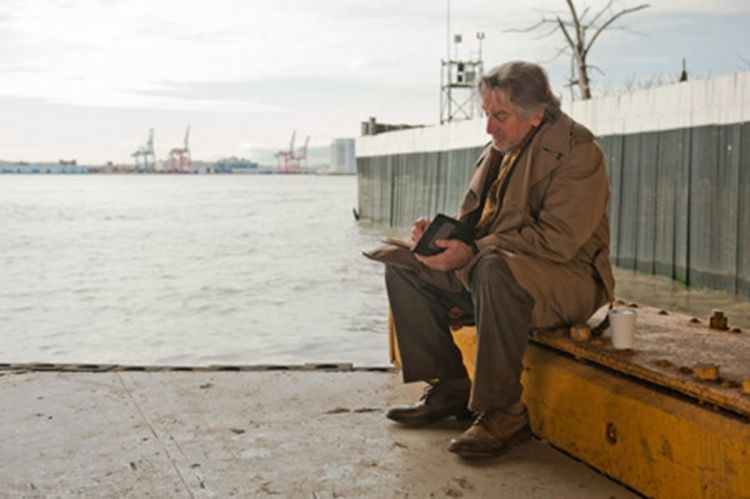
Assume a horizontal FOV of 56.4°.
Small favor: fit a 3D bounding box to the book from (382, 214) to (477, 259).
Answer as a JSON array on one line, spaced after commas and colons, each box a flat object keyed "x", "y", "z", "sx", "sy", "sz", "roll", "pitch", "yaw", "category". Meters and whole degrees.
[{"x": 0.437, "y": -0.084, "z": 4.954, "sx": 0.305, "sy": 0.377, "sz": 0.111, "roll": 24, "pitch": 29, "yaw": -26, "category": "book"}]

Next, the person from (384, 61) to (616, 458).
[{"x": 0.872, "y": 0.000, "z": 4.951, "sx": 1.502, "sy": 2.608, "sz": 0.963, "roll": -6, "pitch": 11, "yaw": -25, "category": "person"}]
